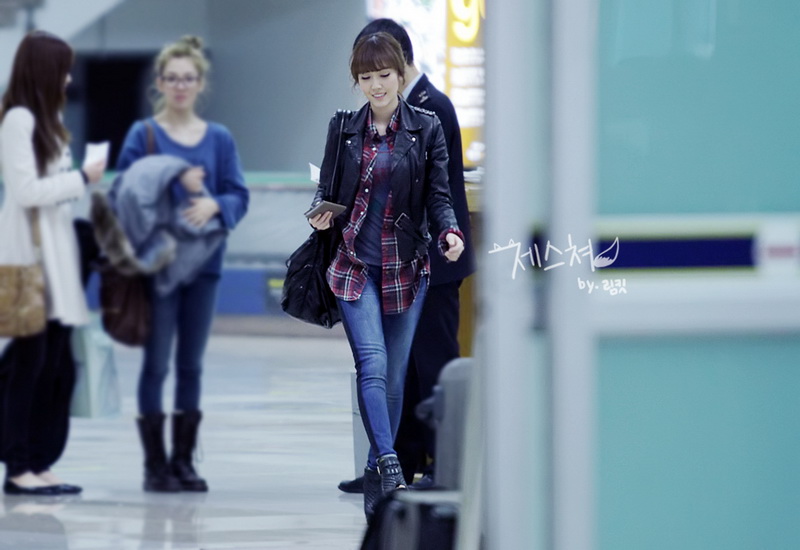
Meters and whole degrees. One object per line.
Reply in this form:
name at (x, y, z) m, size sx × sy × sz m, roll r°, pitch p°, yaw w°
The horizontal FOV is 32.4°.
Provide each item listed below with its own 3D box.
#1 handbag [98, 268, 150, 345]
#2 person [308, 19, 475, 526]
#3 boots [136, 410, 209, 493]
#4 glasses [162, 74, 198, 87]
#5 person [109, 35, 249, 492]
handbag at (-1.279, 0.146, 6.475) m, size 0.276 × 0.398 × 0.192 m, roll 4°, pitch 9°, yaw -17°
person at (-0.068, -0.050, 5.654) m, size 0.583 × 1.848 × 0.353 m, roll 2°, pitch 8°, yaw 3°
boots at (-1.051, 0.823, 6.351) m, size 0.318 × 0.319 × 0.299 m, roll 0°, pitch 8°, yaw -11°
glasses at (-1.018, -0.891, 6.370) m, size 0.161 × 0.049 × 0.047 m, roll 0°, pitch 8°, yaw -12°
person at (-1.061, -0.064, 6.407) m, size 0.547 × 2.055 × 0.599 m, roll 4°, pitch 8°, yaw 18°
